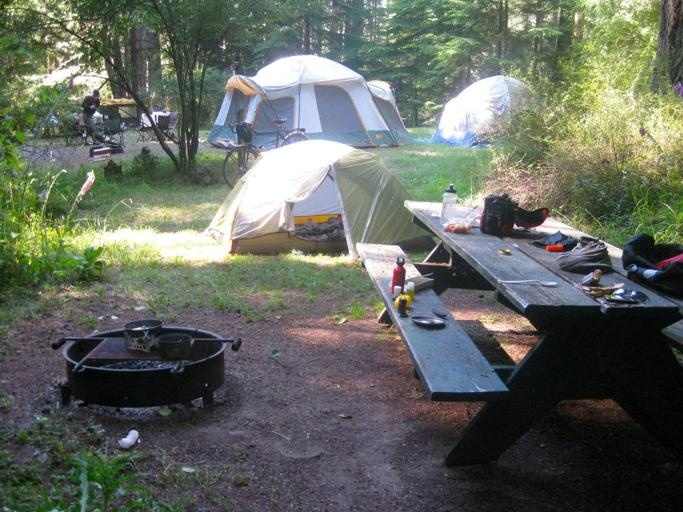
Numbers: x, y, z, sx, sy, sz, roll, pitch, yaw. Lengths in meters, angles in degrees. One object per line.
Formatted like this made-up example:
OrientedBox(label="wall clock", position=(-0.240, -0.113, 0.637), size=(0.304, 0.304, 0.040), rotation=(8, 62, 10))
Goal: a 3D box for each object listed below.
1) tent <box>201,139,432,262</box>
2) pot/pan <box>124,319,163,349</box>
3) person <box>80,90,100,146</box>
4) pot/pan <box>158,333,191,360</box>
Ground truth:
OrientedBox(label="tent", position=(-0.345, -0.873, 8.555), size=(3.314, 1.451, 1.713), rotation=(4, 19, 3))
OrientedBox(label="pot/pan", position=(-1.631, 0.646, 4.853), size=(0.295, 0.126, 0.380), rotation=(0, 19, -11))
OrientedBox(label="person", position=(-6.119, -3.359, 14.458), size=(0.406, 1.367, 2.007), rotation=(-5, 21, -23))
OrientedBox(label="pot/pan", position=(-1.351, 0.773, 4.794), size=(0.260, 0.264, 0.230), rotation=(-3, 20, -18))
